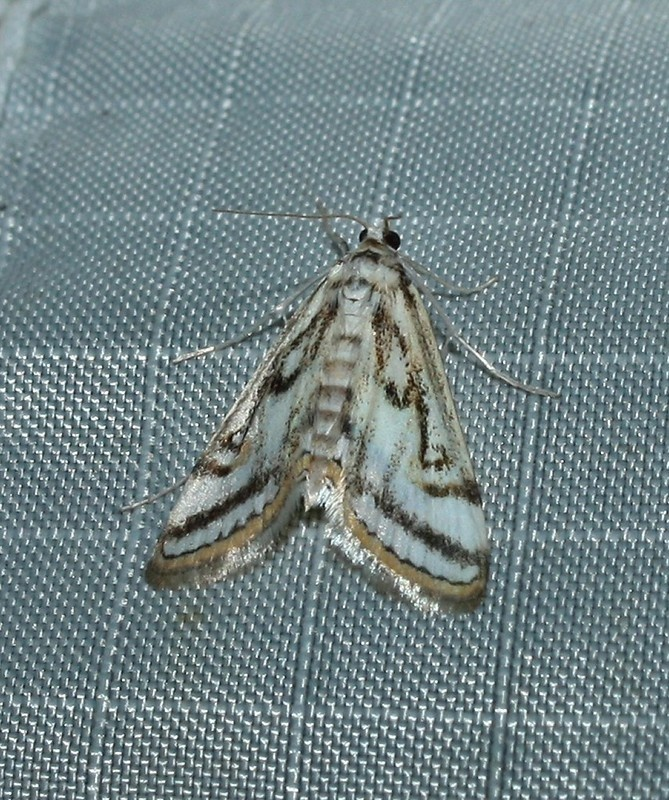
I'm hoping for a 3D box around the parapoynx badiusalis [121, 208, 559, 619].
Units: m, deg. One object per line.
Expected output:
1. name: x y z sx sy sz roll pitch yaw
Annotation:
1. parapoynx badiusalis: -0.017 0.006 1.054 0.329 0.136 0.414 1 79 1
